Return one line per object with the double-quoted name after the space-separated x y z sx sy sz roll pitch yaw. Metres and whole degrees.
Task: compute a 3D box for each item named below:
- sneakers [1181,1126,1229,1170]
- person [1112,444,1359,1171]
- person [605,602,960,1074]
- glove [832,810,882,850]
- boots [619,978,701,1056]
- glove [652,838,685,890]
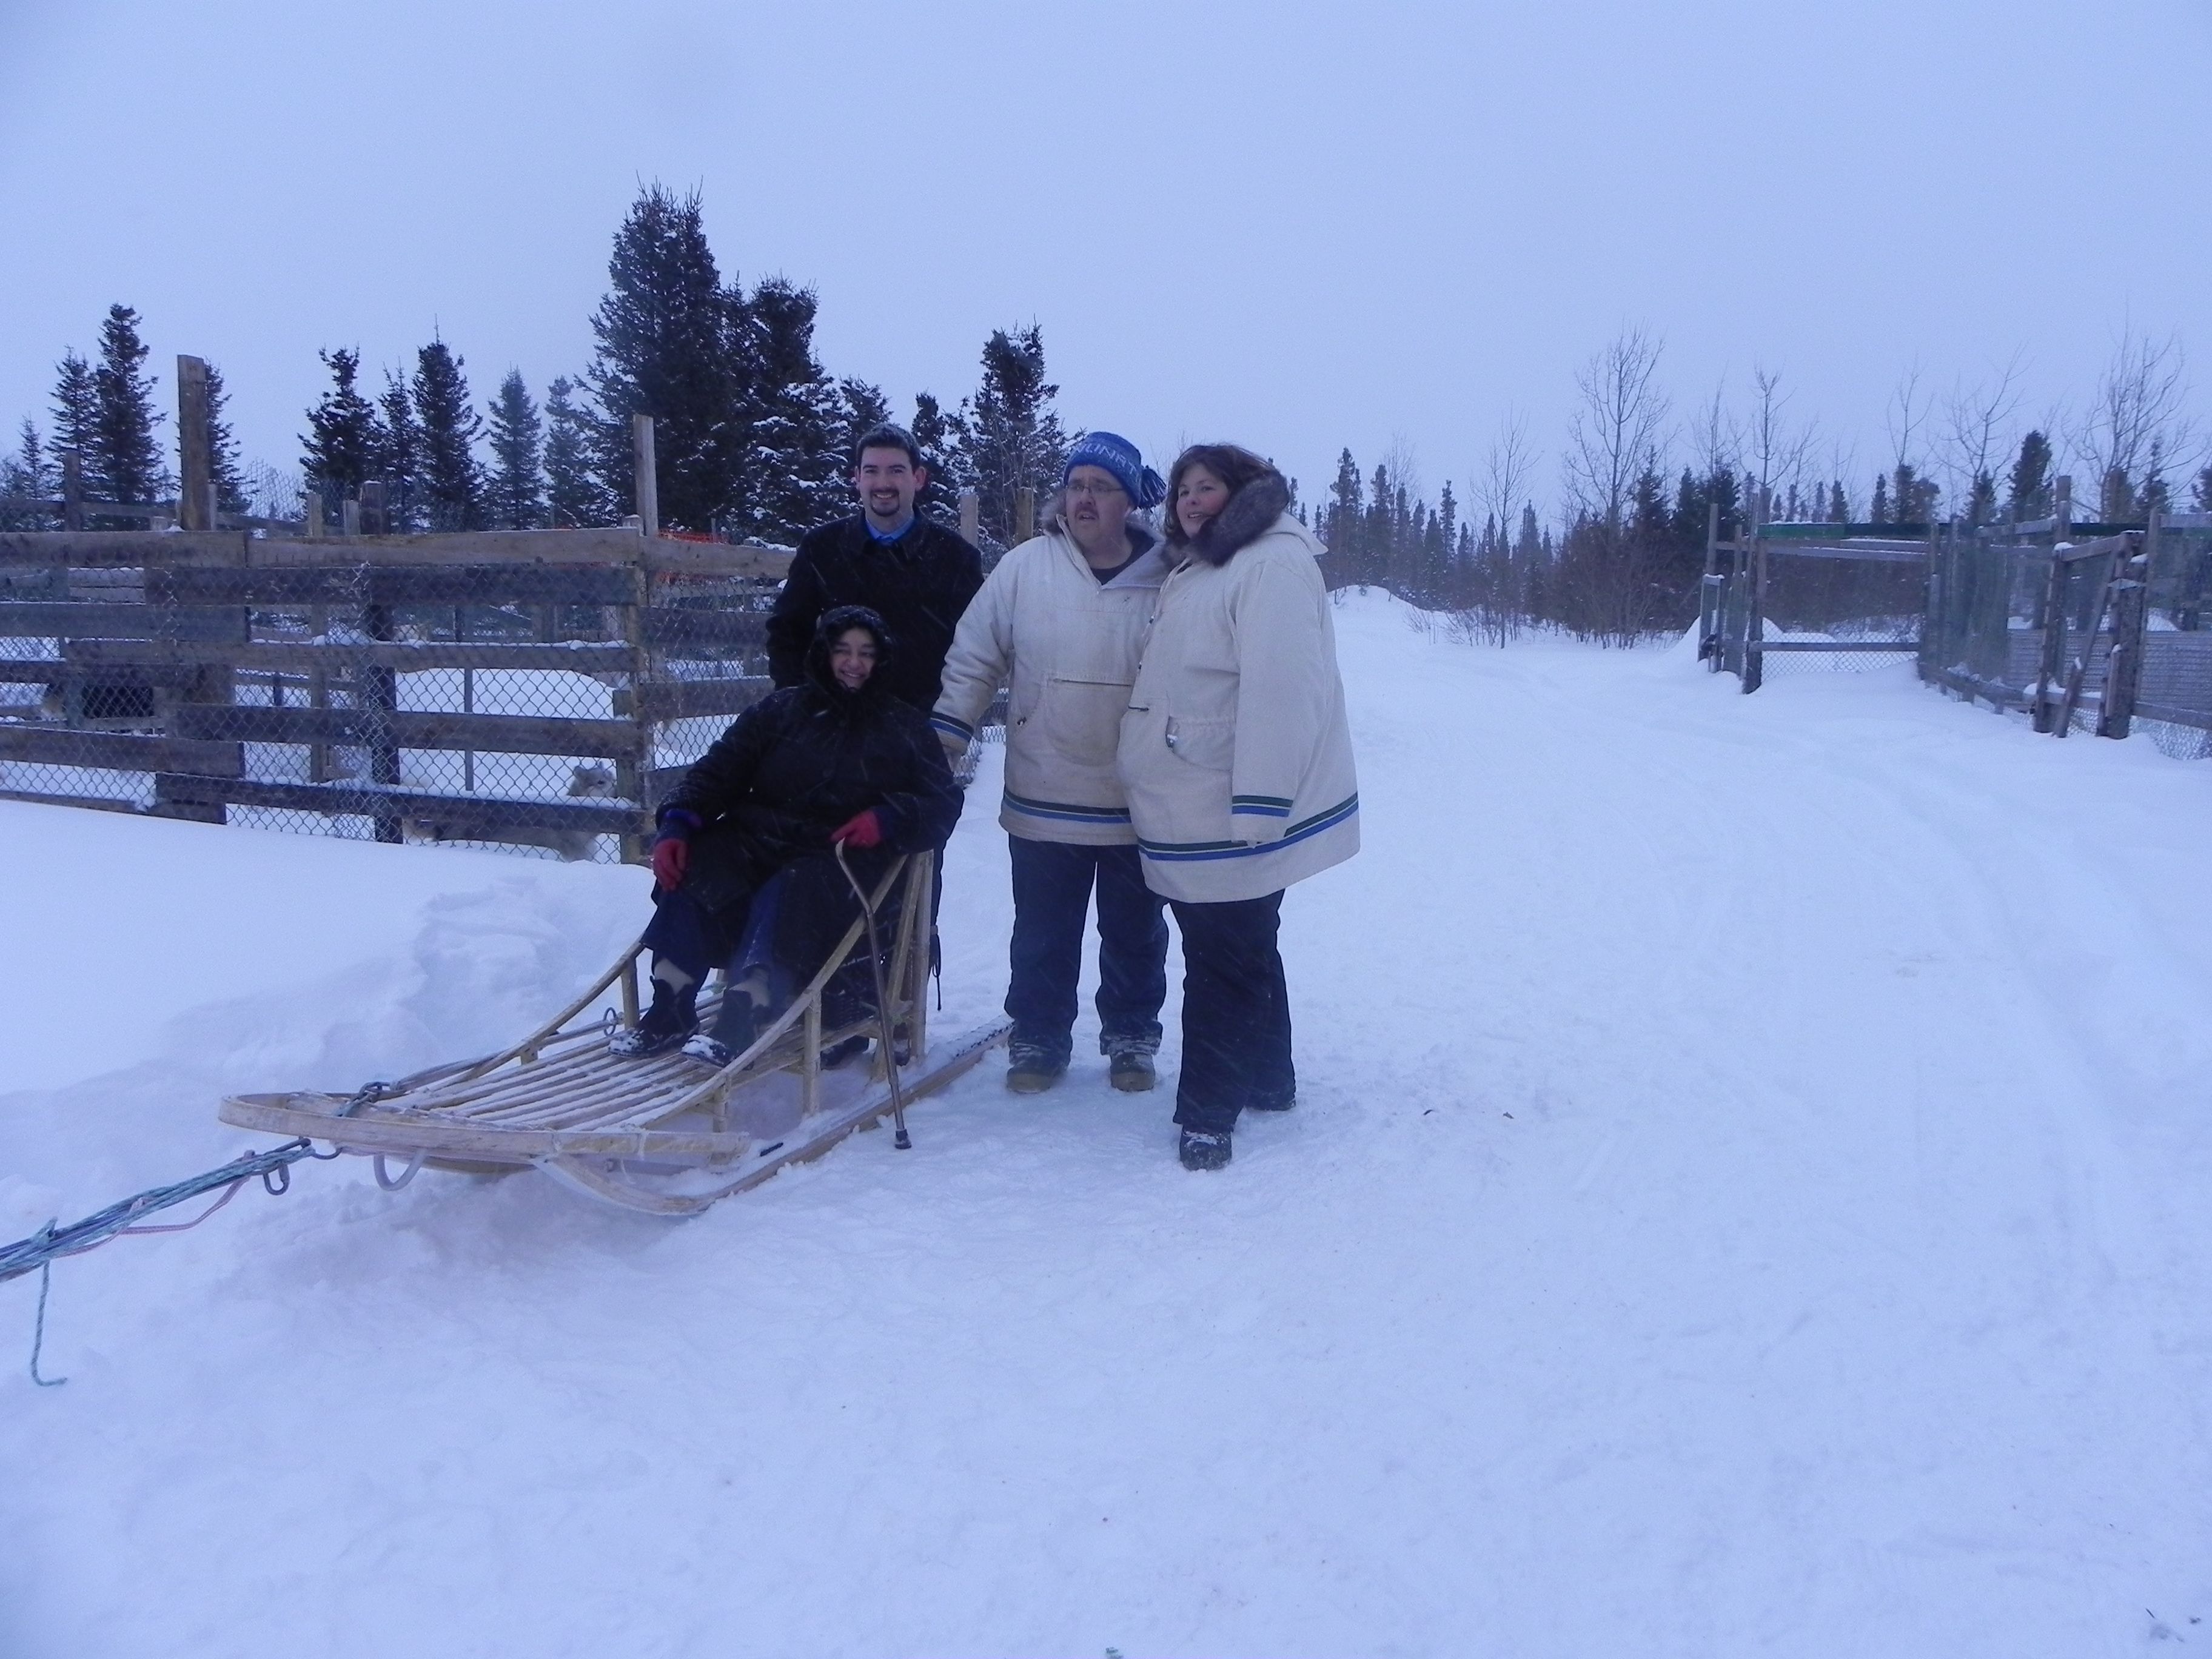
0.342 1.065 6.521 0.185 0.130 0.152 -2 13 -2 "sneakers"
0.479 -0.118 6.635 0.741 2.355 0.649 -7 12 -29 "person"
-1.192 0.010 7.028 0.849 1.978 1.128 -5 -21 38 "person"
-0.886 0.006 6.818 0.165 0.137 0.118 -4 12 -9 "glove"
-1.579 0.682 6.870 0.370 0.332 0.154 2 0 -21 "boots"
-1.542 0.109 6.759 0.136 0.129 0.115 7 0 32 "glove"
